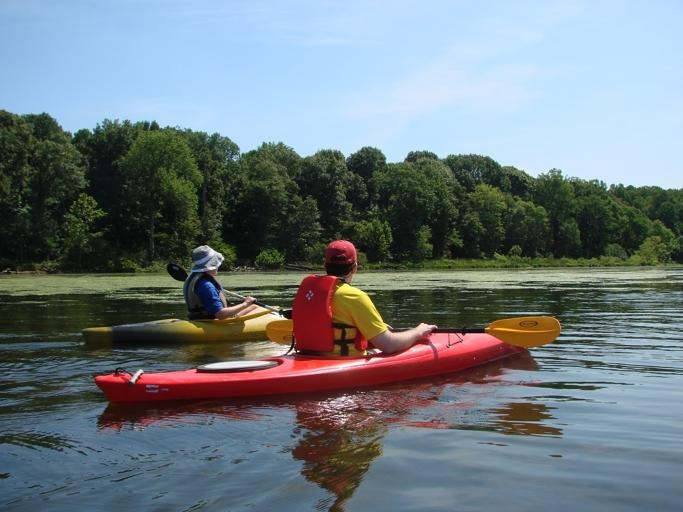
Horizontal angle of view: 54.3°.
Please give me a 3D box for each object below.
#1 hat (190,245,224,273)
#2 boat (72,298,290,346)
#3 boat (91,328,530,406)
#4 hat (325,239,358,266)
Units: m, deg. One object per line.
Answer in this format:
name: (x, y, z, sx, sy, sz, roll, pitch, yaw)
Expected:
hat: (-1.889, 0.070, 9.498, 0.451, 0.226, 0.439, -21, 13, -3)
boat: (-2.432, 0.948, 10.193, 3.411, 0.431, 0.979, 2, -6, -17)
boat: (-0.161, 1.232, 7.249, 3.676, 0.360, 0.692, -1, 0, -25)
hat: (-0.011, -0.031, 6.947, 0.318, 0.248, 0.533, -4, -2, -1)
